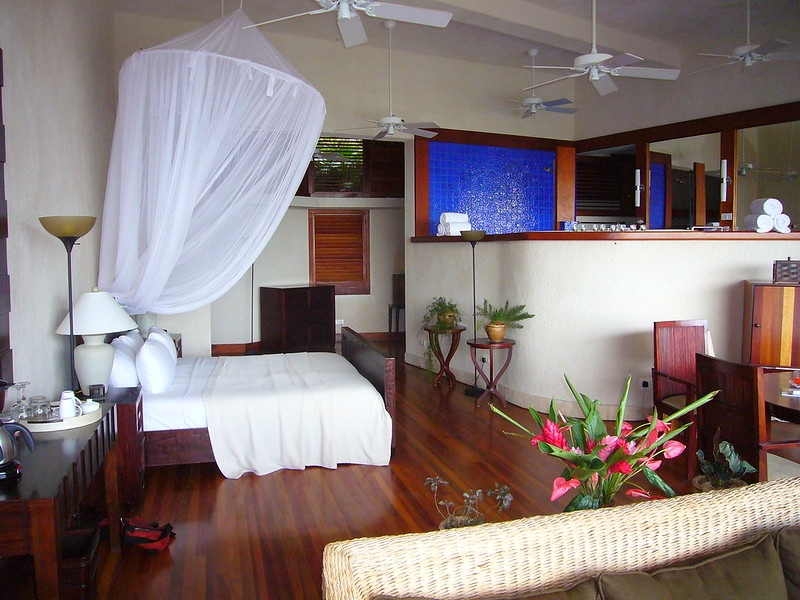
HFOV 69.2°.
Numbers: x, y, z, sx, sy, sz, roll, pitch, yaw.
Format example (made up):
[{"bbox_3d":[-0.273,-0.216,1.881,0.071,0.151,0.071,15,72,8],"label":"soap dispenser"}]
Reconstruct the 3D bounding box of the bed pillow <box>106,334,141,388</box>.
[{"bbox_3d":[-2.067,0.457,4.471,0.171,0.346,0.539,-11,-4,-14],"label":"bed pillow"}]

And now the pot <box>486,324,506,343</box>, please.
[{"bbox_3d":[0.965,0.318,5.733,0.177,0.169,0.174,1,2,0],"label":"pot"}]

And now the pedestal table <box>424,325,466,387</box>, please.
[{"bbox_3d":[0.554,0.624,6.797,0.433,0.730,0.753,-1,8,6],"label":"pedestal table"}]

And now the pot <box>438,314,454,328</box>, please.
[{"bbox_3d":[0.530,0.229,6.518,0.145,0.152,0.153,1,4,0],"label":"pot"}]

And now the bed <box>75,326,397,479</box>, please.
[{"bbox_3d":[-1.230,0.907,5.317,2.187,0.551,2.295,1,4,-3],"label":"bed"}]

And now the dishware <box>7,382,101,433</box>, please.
[{"bbox_3d":[-1.899,0.554,3.147,0.470,0.255,0.333,-1,8,1],"label":"dishware"}]

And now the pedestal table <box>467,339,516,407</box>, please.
[{"bbox_3d":[0.970,0.756,6.051,0.470,0.628,0.482,3,-4,-18],"label":"pedestal table"}]

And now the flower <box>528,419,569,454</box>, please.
[{"bbox_3d":[0.597,0.525,2.272,0.138,0.128,0.167,1,9,17],"label":"flower"}]

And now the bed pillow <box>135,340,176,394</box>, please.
[{"bbox_3d":[-1.834,0.513,4.346,0.119,0.277,0.352,0,4,-7],"label":"bed pillow"}]

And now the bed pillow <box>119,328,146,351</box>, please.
[{"bbox_3d":[-2.193,0.334,4.803,0.176,0.081,0.256,19,5,-40],"label":"bed pillow"}]

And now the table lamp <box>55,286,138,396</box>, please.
[{"bbox_3d":[-2.050,0.235,4.100,0.605,0.830,0.610,-3,6,-30],"label":"table lamp"}]

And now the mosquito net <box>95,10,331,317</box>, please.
[{"bbox_3d":[-1.423,-1.055,4.484,1.286,2.365,1.440,9,0,9],"label":"mosquito net"}]

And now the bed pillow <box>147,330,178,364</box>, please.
[{"bbox_3d":[-1.919,0.385,4.683,0.126,0.308,0.277,-12,-1,-2],"label":"bed pillow"}]

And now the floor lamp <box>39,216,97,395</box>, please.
[{"bbox_3d":[-2.205,0.052,3.964,0.303,1.228,0.759,-6,10,-31],"label":"floor lamp"}]
